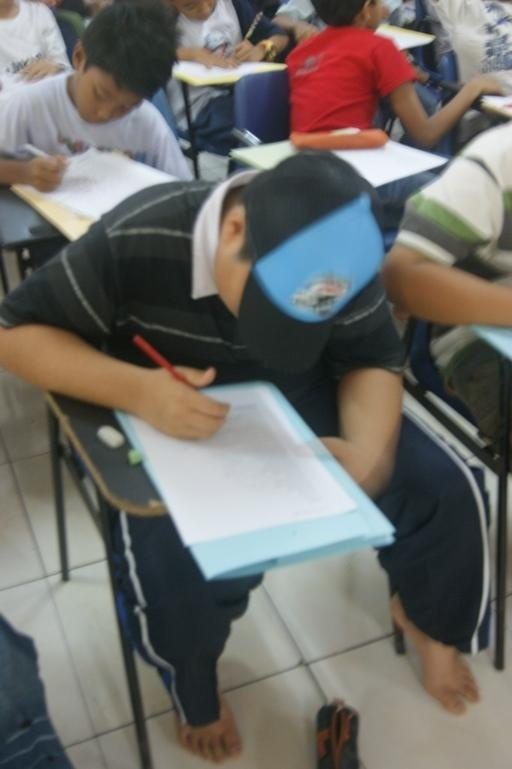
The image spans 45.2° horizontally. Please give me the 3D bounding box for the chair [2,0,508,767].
[{"bbox_3d":[0.033,0.115,0.758,0.526,0.797,0.392,-20,37,-23],"label":"chair"}]

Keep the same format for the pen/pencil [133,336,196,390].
[{"bbox_3d":[-0.105,-0.024,0.692,0.078,0.011,0.012,42,39,19],"label":"pen/pencil"}]

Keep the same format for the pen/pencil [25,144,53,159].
[{"bbox_3d":[-0.368,-0.393,1.038,0.058,0.022,0.012,27,59,28],"label":"pen/pencil"}]

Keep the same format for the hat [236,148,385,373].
[{"bbox_3d":[0.038,-0.085,0.488,0.105,0.167,0.106,-8,34,-7],"label":"hat"}]
